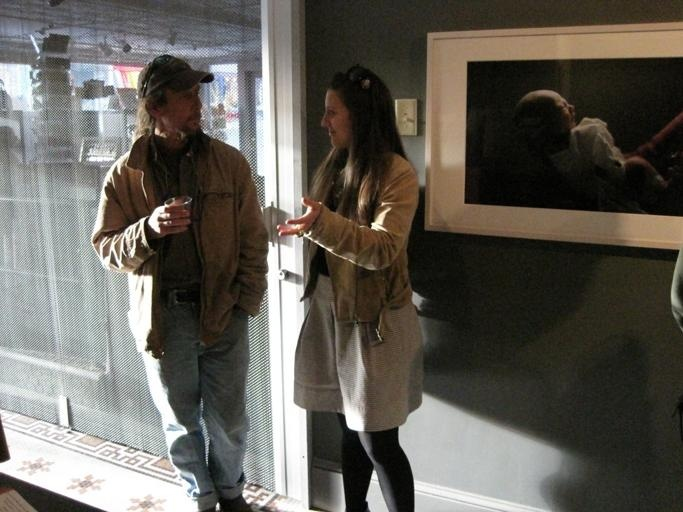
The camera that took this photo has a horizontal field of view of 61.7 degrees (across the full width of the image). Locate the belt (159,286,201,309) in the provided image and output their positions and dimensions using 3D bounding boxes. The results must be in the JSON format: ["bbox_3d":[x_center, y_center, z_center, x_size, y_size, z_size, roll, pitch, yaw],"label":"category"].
[{"bbox_3d":[-0.670,0.165,2.358,0.108,0.048,0.084,-1,3,23],"label":"belt"}]

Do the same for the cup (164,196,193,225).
[{"bbox_3d":[-0.614,-0.198,2.132,0.089,0.077,0.159,-2,18,-17],"label":"cup"}]

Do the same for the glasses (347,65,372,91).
[{"bbox_3d":[0.069,-0.667,2.123,0.070,0.035,0.100,-1,56,-5],"label":"glasses"}]

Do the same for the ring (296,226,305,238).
[{"bbox_3d":[-0.145,-0.091,1.989,0.031,0.032,0.009,10,8,16],"label":"ring"}]

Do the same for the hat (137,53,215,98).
[{"bbox_3d":[-0.691,-0.715,2.294,0.273,0.171,0.124,9,17,18],"label":"hat"}]
